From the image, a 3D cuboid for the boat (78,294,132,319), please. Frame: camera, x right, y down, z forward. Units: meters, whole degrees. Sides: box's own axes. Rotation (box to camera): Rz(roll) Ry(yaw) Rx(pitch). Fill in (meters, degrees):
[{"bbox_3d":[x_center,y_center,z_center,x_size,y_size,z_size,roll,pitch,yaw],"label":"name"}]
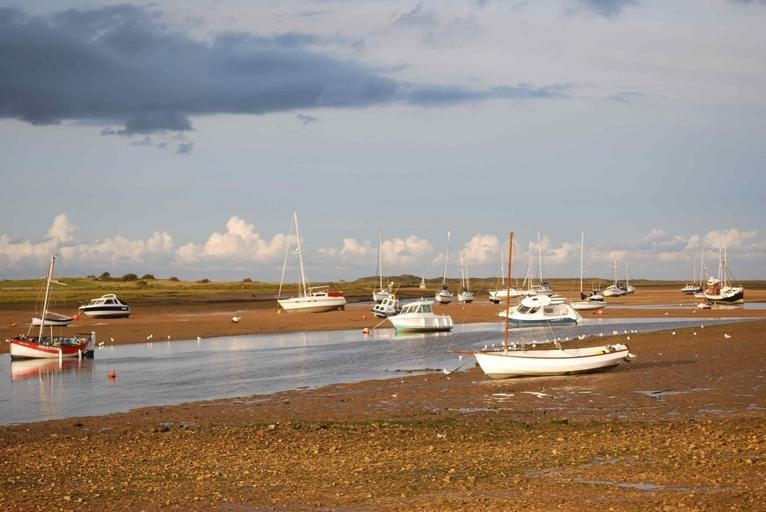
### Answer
[{"bbox_3d":[-29.253,5.458,102.709,5.211,1.835,2.818,-3,5,-10],"label":"boat"}]
